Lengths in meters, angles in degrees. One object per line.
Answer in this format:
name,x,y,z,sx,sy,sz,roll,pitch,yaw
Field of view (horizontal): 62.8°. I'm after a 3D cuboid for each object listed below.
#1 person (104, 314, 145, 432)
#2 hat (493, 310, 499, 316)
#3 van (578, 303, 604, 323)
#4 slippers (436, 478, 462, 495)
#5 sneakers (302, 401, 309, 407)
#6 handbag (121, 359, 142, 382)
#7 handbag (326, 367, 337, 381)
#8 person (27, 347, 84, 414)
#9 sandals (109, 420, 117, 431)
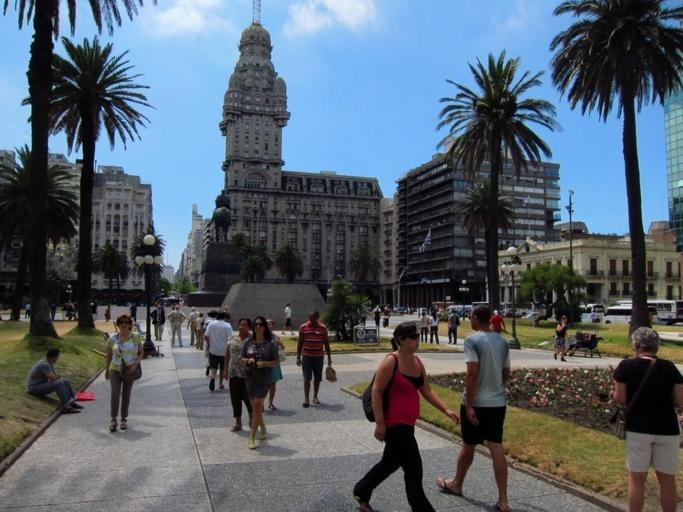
person,-4.576,2.412,11.785,0.697,2.385,1.042,2,-3,-24
hat,6.971,2.563,25.381,0.211,0.286,0.315,3,-36,7
van,26.907,6.183,60.680,2.269,2.592,3.909,1,-1,5
slippers,1.724,3.732,9.029,0.301,0.101,0.164,15,3,44
sneakers,-0.861,3.561,13.545,0.179,0.125,0.359,1,-4,-4
handbag,-4.289,2.376,11.567,0.198,0.366,0.455,-2,-4,32
handbag,-0.272,2.881,13.565,0.234,0.394,0.655,1,-4,-4
person,-6.662,2.848,13.007,1.177,1.446,0.528,0,-3,4
sandals,-4.668,3.479,11.462,0.085,0.125,0.274,1,-13,-10
